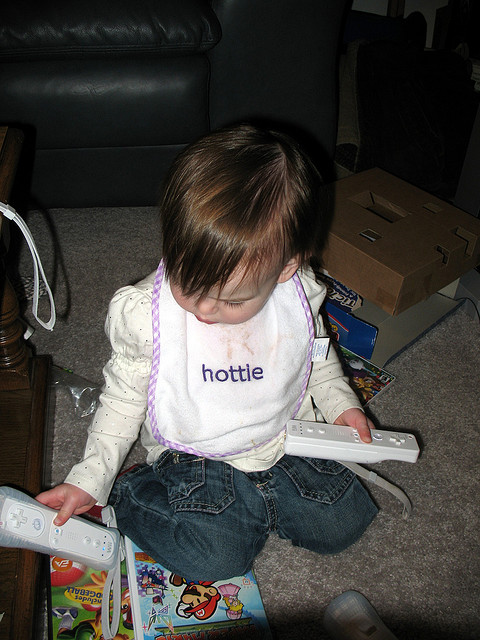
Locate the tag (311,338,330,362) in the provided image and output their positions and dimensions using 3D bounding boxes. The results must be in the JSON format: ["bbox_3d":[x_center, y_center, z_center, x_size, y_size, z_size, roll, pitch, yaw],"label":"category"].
[{"bbox_3d":[0.125,0.046,0.800,0.038,0.034,0.009,-4,26,-23],"label":"tag"}]

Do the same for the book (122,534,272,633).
[{"bbox_3d":[-0.070,0.376,0.730,0.186,0.062,0.167,-9,48,-10],"label":"book"}]

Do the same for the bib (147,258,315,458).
[{"bbox_3d":[-0.010,0.052,0.734,0.275,0.249,0.183,-13,49,-13],"label":"bib"}]
